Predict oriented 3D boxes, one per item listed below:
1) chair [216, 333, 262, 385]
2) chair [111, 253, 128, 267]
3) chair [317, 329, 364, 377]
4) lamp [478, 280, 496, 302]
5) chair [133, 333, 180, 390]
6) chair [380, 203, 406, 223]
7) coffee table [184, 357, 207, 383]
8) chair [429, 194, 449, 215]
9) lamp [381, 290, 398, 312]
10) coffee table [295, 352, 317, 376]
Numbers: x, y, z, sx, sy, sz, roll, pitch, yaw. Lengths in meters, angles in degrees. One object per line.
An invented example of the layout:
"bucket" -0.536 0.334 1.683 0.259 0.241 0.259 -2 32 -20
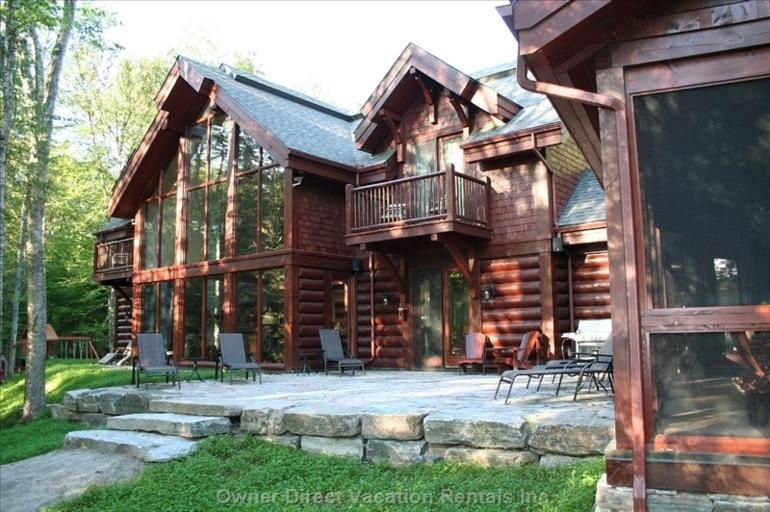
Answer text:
"chair" -3.172 2.167 12.753 0.734 0.888 1.167 6 -1 -31
"chair" -9.246 0.125 20.985 0.555 0.559 0.537 -1 -1 35
"chair" -1.042 2.255 14.049 0.693 0.865 1.126 2 1 -38
"lamp" 2.485 0.862 14.345 0.495 0.516 0.394 -3 -11 23
"chair" -4.578 2.060 11.835 0.784 0.856 1.148 5 -2 -44
"chair" 0.209 -1.079 14.520 0.456 0.210 0.607 1 -3 -22
"coffee table" -4.704 2.826 14.817 0.755 0.821 0.743 2 -11 -19
"chair" 1.252 -1.236 14.186 0.423 0.442 0.999 -5 5 3
"lamp" 0.169 1.184 15.807 0.420 0.525 0.253 -5 6 -1
"coffee table" -1.957 2.684 15.051 0.469 0.471 0.472 0 -11 -7
